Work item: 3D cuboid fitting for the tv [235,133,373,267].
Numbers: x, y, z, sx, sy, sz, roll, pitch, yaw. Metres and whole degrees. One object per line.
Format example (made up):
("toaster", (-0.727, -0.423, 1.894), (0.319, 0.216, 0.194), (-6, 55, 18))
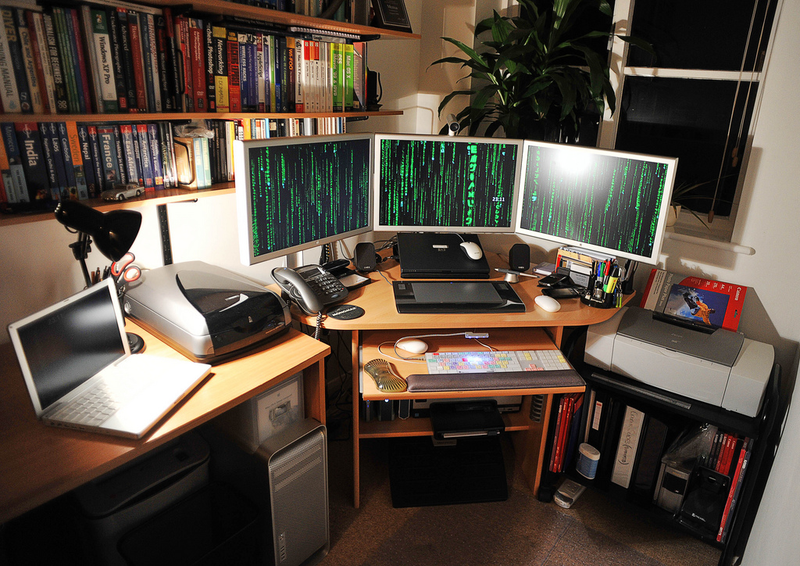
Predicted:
("tv", (-0.429, -0.393, 2.445), (0.596, 0.405, 0.058), (-20, 31, -39))

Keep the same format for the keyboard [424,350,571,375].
("keyboard", (0.434, 0.345, 2.427), (0.349, 0.016, 0.117), (-1, 32, -7))

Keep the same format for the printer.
("printer", (1.277, 0.330, 2.580), (0.745, 0.287, 0.375), (11, 24, 29))

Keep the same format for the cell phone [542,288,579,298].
("cell phone", (0.759, 0.044, 2.619), (0.107, 0.026, 0.065), (-2, 31, -8))

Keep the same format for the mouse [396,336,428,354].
("mouse", (0.050, 0.278, 2.484), (0.136, 0.049, 0.125), (-7, 21, -15))

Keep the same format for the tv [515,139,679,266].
("tv", (0.917, -0.373, 2.598), (0.605, 0.427, 0.044), (17, 24, 24))

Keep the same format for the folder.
("folder", (1.133, 0.796, 2.642), (0.362, 0.364, 0.083), (4, 10, -35))

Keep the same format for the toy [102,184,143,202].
("toy", (-1.059, -0.347, 2.130), (0.059, 0.044, 0.130), (23, 33, 35))

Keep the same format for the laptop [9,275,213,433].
("laptop", (-1.012, 0.294, 1.948), (0.530, 0.381, 0.500), (16, 26, 6))

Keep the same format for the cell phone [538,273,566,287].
("cell phone", (0.735, -0.019, 2.697), (0.091, 0.025, 0.068), (-23, 31, -25))

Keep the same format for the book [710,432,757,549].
("book", (1.466, 0.921, 2.446), (0.061, 0.520, 0.122), (13, 25, 34))

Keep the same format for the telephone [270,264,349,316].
("telephone", (-0.388, 0.009, 2.461), (0.291, 0.163, 0.240), (18, 28, 42))
